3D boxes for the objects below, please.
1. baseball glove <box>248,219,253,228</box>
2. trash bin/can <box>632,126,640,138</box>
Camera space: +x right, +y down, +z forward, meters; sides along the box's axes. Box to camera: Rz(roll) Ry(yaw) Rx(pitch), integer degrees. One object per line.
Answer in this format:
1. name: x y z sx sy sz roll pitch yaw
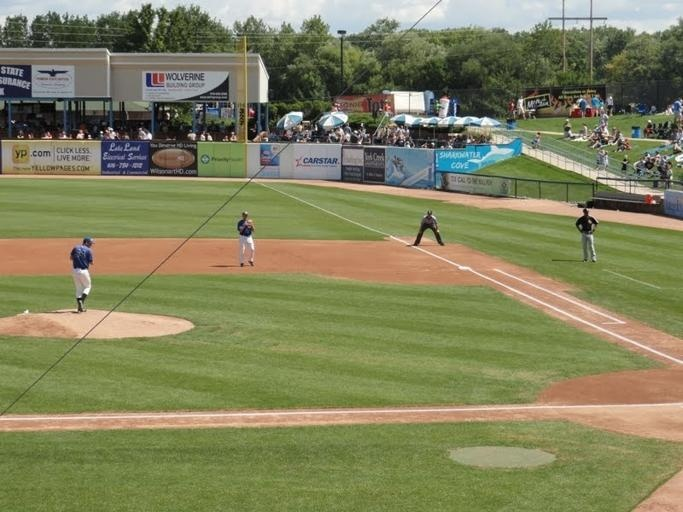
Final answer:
1. baseball glove: -3.821 -1.365 51.344 0.145 0.318 0.451 4 11 13
2. trash bin/can: 23.251 -9.926 97.835 0.879 0.878 0.859 3 4 25
